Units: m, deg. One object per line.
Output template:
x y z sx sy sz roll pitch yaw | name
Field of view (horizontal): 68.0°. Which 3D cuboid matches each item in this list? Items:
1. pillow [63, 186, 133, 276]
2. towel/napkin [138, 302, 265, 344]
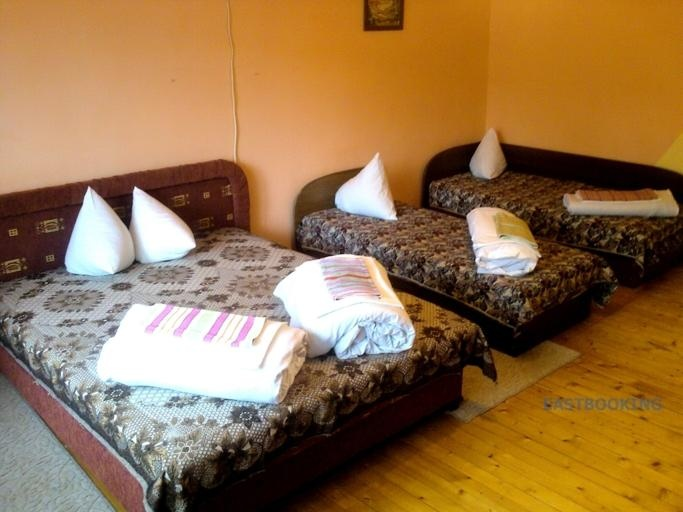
-1.550 -0.156 3.373 0.378 0.503 0.589 -13 19 -35 | pillow
-0.652 0.309 2.322 0.585 0.031 0.235 4 29 10 | towel/napkin
